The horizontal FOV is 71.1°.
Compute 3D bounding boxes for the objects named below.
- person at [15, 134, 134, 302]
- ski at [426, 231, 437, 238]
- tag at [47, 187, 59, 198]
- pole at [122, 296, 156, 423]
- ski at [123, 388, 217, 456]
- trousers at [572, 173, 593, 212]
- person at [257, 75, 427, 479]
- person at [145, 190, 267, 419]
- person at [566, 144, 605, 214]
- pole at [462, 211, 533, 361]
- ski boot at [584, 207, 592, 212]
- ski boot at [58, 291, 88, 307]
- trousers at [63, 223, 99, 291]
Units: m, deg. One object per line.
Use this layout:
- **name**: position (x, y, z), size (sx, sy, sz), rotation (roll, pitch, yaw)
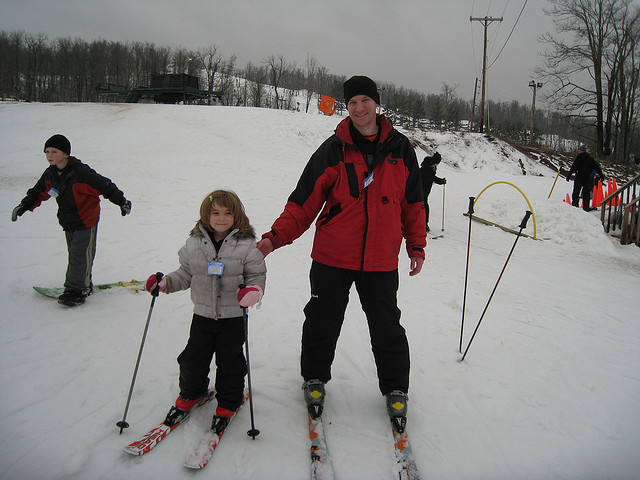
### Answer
- **person**: position (-3.162, -0.263, 5.773), size (1.262, 2.093, 0.587), rotation (7, 14, 16)
- **ski**: position (2.384, -0.113, 9.609), size (0.211, 0.059, 0.147), rotation (5, -10, -39)
- **tag**: position (-3.403, -0.609, 5.699), size (0.113, 0.084, 0.017), rotation (34, 10, -5)
- **pole**: position (-1.947, 1.318, 4.816), size (0.149, 1.208, 0.125), rotation (17, -4, -14)
- **ski**: position (-1.391, 1.710, 4.172), size (0.163, 0.140, 0.823), rotation (22, 35, 20)
- **trousers**: position (7.238, -1.317, 12.318), size (0.523, 0.932, 0.405), rotation (11, 16, 31)
- **person**: position (0.308, 0.212, 4.204), size (1.384, 3.348, 1.062), rotation (4, 14, 4)
- **person**: position (-1.000, 0.597, 4.209), size (0.947, 2.021, 0.648), rotation (1, 14, -8)
- **person**: position (7.315, -1.631, 12.394), size (0.858, 1.921, 0.539), rotation (10, -15, 18)
- **pole**: position (2.913, 0.748, 7.353), size (0.234, 2.045, 0.167), rotation (19, 5, 23)
- **ski boot**: position (7.304, -0.820, 12.213), size (0.112, 0.066, 0.507), rotation (16, 21, 38)
- **ski boot**: position (-3.190, 0.764, 5.788), size (0.142, 0.172, 0.371), rotation (43, -8, 1)
- **trousers**: position (-3.141, 0.145, 5.931), size (0.373, 1.242, 0.332), rotation (-1, 43, -32)
